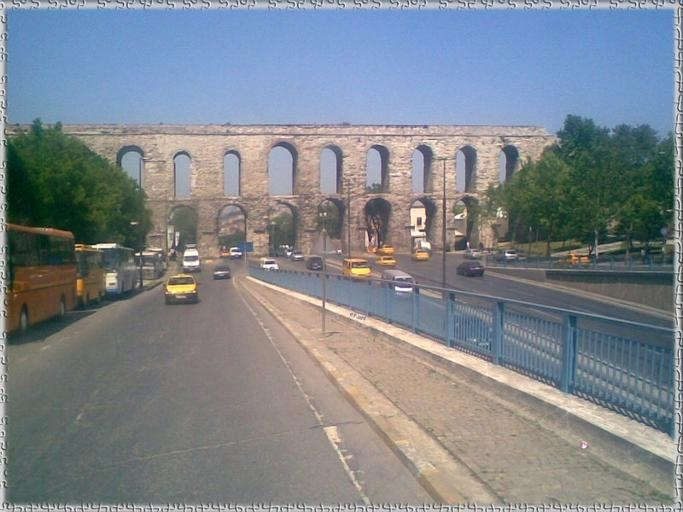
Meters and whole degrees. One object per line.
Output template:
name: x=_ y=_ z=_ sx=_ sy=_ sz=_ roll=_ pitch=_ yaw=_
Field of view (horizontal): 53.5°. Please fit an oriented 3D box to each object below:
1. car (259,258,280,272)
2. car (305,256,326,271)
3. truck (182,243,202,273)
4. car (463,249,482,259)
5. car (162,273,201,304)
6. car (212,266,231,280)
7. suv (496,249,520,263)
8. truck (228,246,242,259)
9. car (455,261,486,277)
car: x=-6.658 y=0.806 z=62.933 sx=1.440 sy=1.311 sz=3.181 roll=-2 pitch=-5 yaw=-15
car: x=-2.476 y=0.751 z=63.170 sx=1.117 sy=1.127 sz=3.063 roll=-1 pitch=0 yaw=-9
truck: x=-15.971 y=0.440 z=71.087 sx=2.281 sy=2.625 sz=7.088 roll=-1 pitch=0 yaw=-9
car: x=14.268 y=-0.176 z=72.938 sx=1.035 sy=0.882 sz=2.518 roll=0 pitch=8 yaw=2
car: x=-7.161 y=1.616 z=30.291 sx=1.421 sy=1.196 sz=1.862 roll=-2 pitch=6 yaw=-14
car: x=-9.989 y=1.431 z=56.495 sx=0.998 sy=0.813 sz=2.401 roll=-1 pitch=-4 yaw=-7
suv: x=16.018 y=0.080 z=64.757 sx=1.793 sy=1.543 sz=4.002 roll=0 pitch=5 yaw=3
truck: x=-15.738 y=-0.442 z=101.201 sx=1.707 sy=1.618 sz=3.209 roll=-1 pitch=-4 yaw=-11
car: x=10.473 y=1.068 z=54.835 sx=1.396 sy=1.130 sz=2.099 roll=-3 pitch=6 yaw=-21
